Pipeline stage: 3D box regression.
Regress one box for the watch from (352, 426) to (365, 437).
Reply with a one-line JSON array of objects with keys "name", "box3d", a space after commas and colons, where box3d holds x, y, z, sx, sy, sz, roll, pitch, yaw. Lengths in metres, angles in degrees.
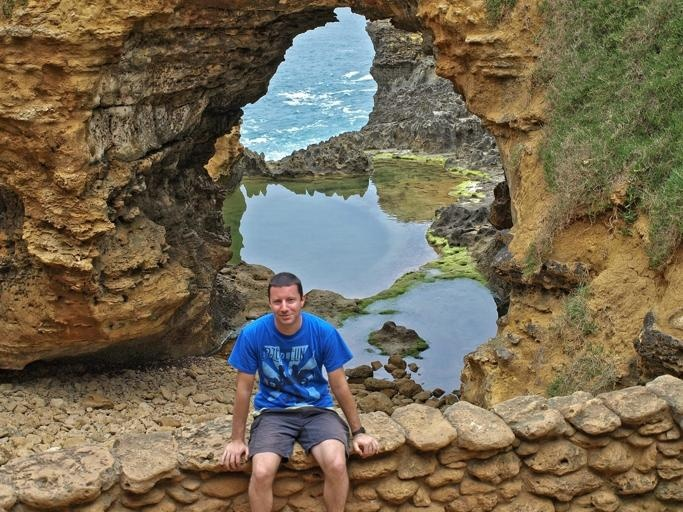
[{"name": "watch", "box3d": [0.161, 1.618, 9.910, 0.120, 0.039, 0.081, -21, -2, -4]}]
